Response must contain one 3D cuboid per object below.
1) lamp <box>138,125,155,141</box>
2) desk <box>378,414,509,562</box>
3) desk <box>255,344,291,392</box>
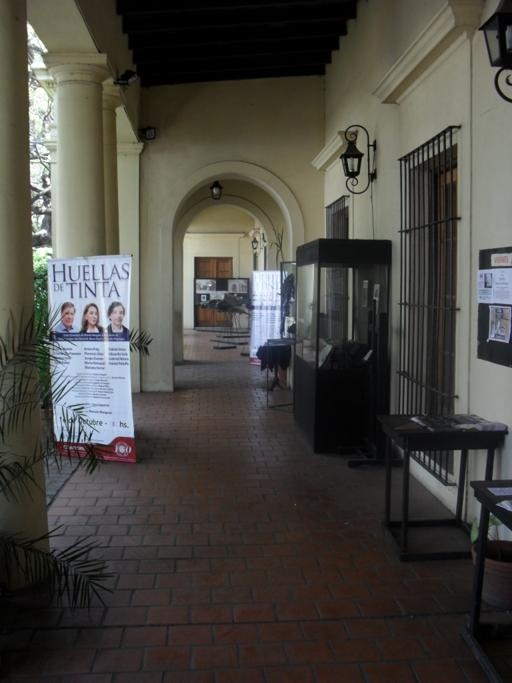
[{"bbox_3d":[-1.748,-3.345,8.238,0.283,0.274,0.161,-1,2,-13],"label":"lamp"},{"bbox_3d":[1.079,0.769,3.139,0.632,0.869,0.674,0,-2,-5],"label":"desk"},{"bbox_3d":[0.328,0.370,8.434,0.338,0.761,0.406,-1,2,6],"label":"desk"}]
